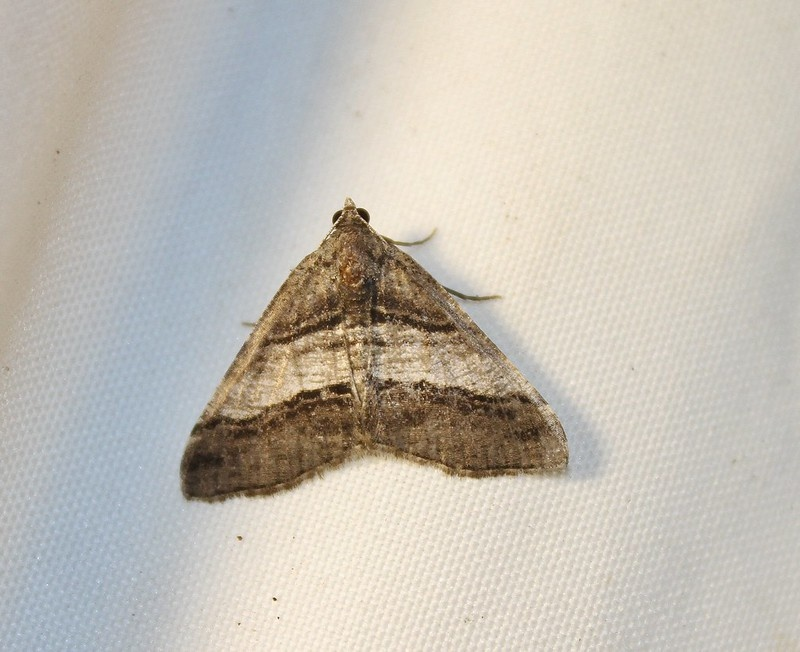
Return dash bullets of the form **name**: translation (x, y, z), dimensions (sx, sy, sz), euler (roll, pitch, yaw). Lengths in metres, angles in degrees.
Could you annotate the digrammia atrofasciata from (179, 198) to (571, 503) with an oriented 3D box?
- **digrammia atrofasciata**: translation (-0.053, 0.177, 7.542), dimensions (1.719, 0.565, 1.467), euler (-3, 87, 9)
